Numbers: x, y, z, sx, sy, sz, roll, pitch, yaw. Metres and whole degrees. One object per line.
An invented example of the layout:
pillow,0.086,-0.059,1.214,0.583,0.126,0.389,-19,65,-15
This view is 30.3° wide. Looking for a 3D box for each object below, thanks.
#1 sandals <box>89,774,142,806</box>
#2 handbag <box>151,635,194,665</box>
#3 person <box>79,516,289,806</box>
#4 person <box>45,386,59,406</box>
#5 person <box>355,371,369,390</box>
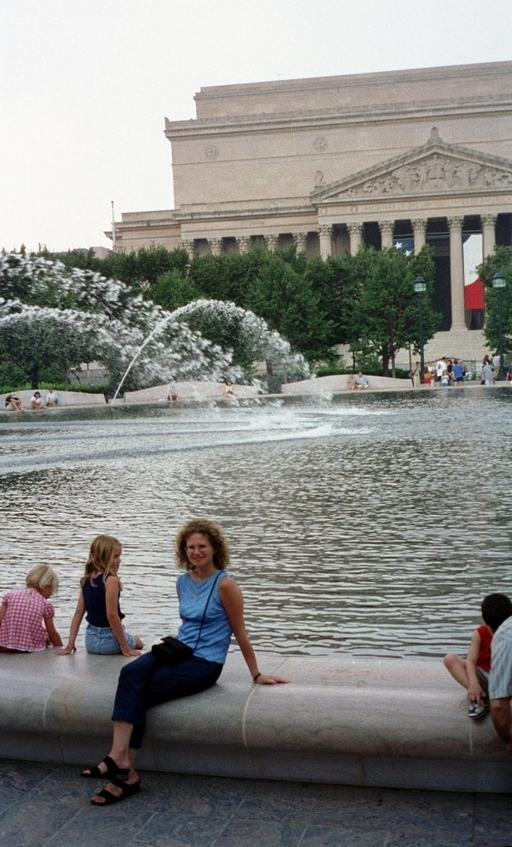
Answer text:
sandals,-0.542,1.433,3.693,0.181,0.076,0.066,5,-8,-40
handbag,-0.373,0.974,4.063,0.098,0.066,0.103,5,-5,-36
person,-0.367,0.974,4.077,0.838,0.985,0.657,-3,4,-26
person,-10.035,-1.243,46.299,0.565,0.848,1.634,-2,4,-13
person,5.210,-2.027,46.527,0.485,0.632,0.886,-5,1,4
